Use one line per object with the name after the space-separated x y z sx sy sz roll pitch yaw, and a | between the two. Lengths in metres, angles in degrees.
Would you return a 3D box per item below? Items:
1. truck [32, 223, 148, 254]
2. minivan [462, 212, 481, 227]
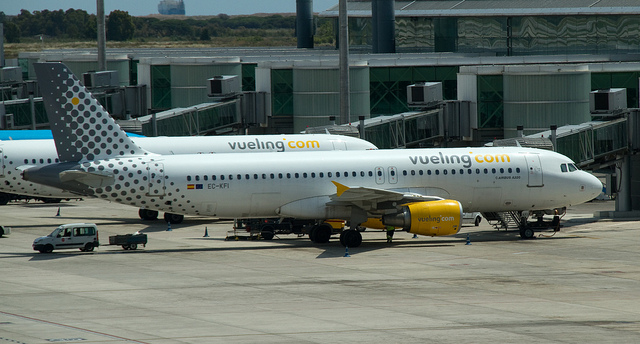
-19.451 5.582 90.703 10.321 1.873 3.040 0 -1 -11 | truck
13.970 4.244 98.473 2.425 0.928 1.165 -5 5 -12 | minivan
